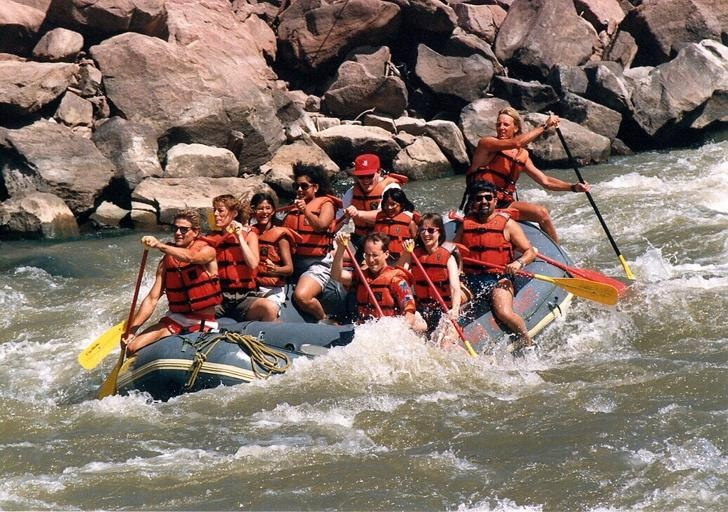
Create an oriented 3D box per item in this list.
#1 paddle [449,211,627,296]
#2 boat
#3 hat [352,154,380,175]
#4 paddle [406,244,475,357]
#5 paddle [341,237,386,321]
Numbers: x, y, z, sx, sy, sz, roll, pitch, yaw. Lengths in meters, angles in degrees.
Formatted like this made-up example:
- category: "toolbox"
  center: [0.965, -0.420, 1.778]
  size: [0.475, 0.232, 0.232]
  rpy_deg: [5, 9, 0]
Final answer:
- category: "paddle"
  center: [2.426, 0.158, 12.217]
  size: [1.956, 0.245, 0.573]
  rpy_deg: [22, 7, 27]
- category: "boat"
  center: [-0.280, 0.837, 11.239]
  size: [4.075, 0.855, 2.341]
  rpy_deg: [-23, 33, -32]
- category: "hat"
  center: [0.034, -1.250, 12.028]
  size: [0.332, 0.303, 0.325]
  rpy_deg: [-8, 0, 0]
- category: "paddle"
  center: [0.929, 0.597, 11.160]
  size: [0.147, 1.662, 0.198]
  rpy_deg: [-38, -18, 6]
- category: "paddle"
  center: [0.000, 0.327, 11.260]
  size: [0.140, 1.199, 0.188]
  rpy_deg: [-38, -13, 37]
